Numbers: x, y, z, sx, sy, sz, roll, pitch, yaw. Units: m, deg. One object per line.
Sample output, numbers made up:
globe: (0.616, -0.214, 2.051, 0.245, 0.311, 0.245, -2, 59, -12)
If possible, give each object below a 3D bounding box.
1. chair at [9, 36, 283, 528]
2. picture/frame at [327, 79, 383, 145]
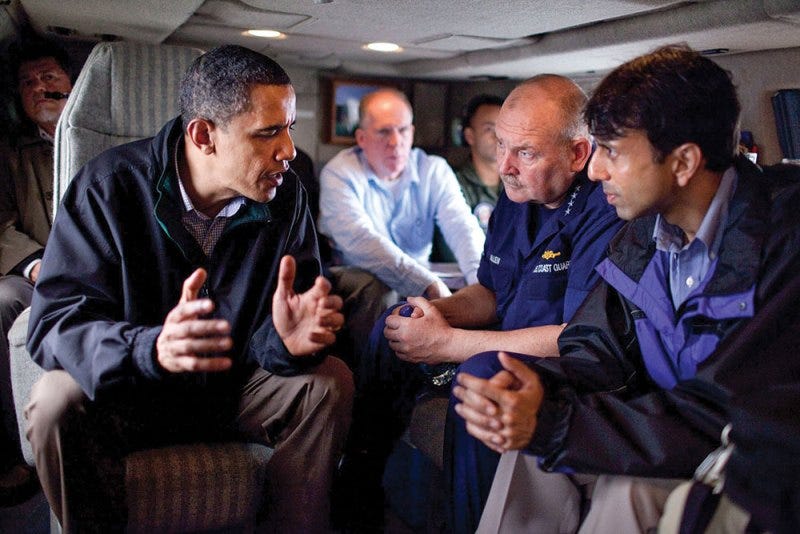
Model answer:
chair: (-0.671, 0.075, 2.087, 0.855, 1.190, 0.675, 5, 4, -30)
picture/frame: (-0.227, -0.888, 3.639, 0.424, 0.366, 0.062, 11, 13, 34)
